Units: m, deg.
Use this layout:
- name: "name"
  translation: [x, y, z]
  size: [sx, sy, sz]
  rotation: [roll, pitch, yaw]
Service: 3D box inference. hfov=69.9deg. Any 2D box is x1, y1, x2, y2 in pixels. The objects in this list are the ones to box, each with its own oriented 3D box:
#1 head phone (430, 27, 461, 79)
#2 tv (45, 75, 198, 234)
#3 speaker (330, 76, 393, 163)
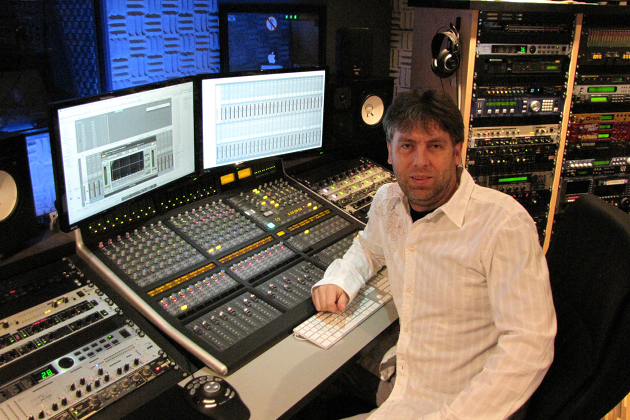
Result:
- name: "head phone"
  translation: [1.020, -1.225, 3.501]
  size: [0.173, 0.381, 0.323]
  rotation: [-14, 29, -16]
- name: "tv"
  translation: [-0.956, -0.251, 2.299]
  size: [0.113, 0.556, 0.853]
  rotation: [8, 22, 26]
- name: "speaker"
  translation: [0.320, -0.686, 3.297]
  size: [0.690, 0.577, 0.344]
  rotation: [-17, 32, -35]
